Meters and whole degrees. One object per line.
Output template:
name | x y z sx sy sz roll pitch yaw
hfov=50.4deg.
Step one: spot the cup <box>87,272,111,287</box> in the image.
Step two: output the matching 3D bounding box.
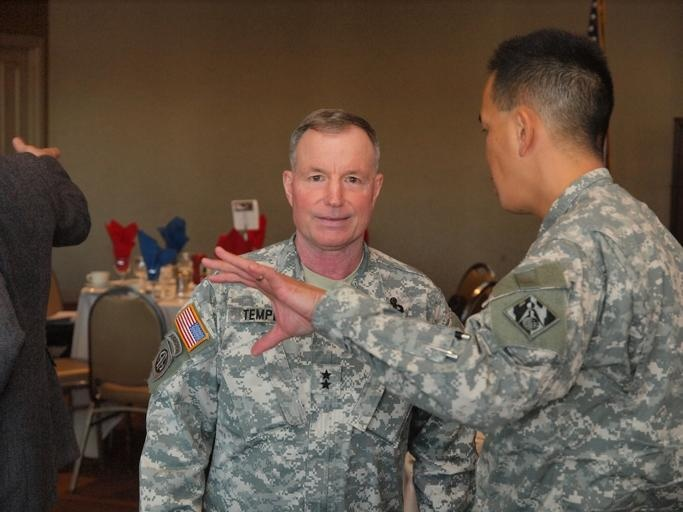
cup | -1.622 0.150 4.835 0.142 0.104 0.107 -2 6 -25
